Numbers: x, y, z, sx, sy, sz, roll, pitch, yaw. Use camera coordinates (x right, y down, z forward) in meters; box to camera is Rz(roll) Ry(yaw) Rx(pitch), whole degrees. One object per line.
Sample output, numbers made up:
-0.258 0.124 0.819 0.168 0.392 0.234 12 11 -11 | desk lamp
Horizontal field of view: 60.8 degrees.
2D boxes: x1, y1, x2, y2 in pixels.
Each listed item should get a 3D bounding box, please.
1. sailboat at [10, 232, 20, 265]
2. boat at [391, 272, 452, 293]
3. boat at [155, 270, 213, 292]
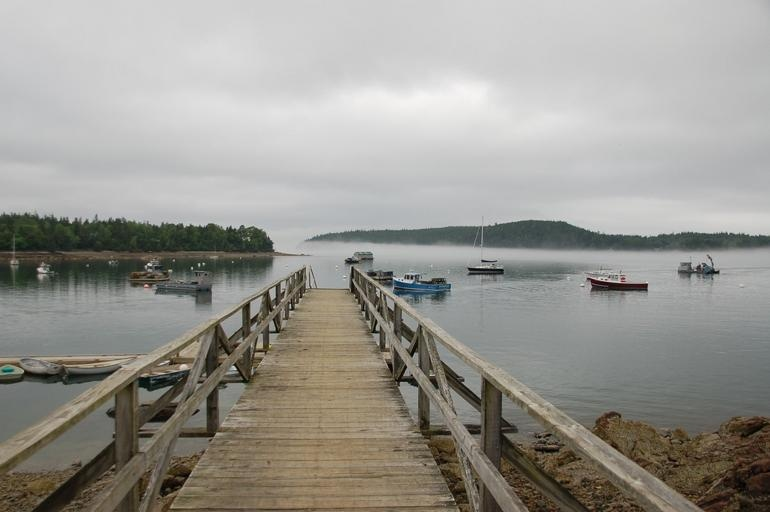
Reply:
-69.413 -1.488 123.098 1.042 6.220 23.512 -3 1 -29 | sailboat
3.714 2.743 71.940 5.008 1.892 2.709 1 -4 6 | boat
-21.770 2.736 70.920 7.714 2.263 3.324 -1 1 39 | boat
